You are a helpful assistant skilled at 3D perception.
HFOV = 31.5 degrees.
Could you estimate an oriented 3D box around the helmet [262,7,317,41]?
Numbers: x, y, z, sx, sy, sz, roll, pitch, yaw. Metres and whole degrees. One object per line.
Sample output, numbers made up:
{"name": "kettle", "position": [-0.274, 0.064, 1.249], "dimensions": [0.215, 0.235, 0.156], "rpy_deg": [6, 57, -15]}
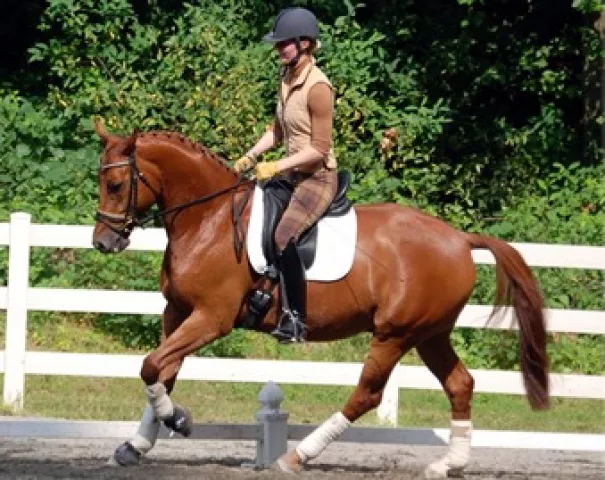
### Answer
{"name": "helmet", "position": [-0.094, -2.288, 11.455], "dimensions": [0.446, 0.286, 0.349], "rpy_deg": [0, 10, -12]}
